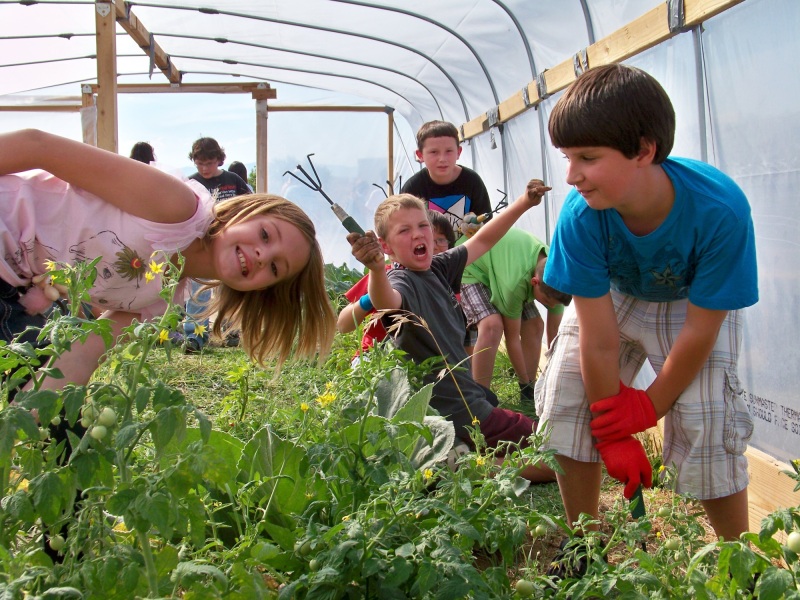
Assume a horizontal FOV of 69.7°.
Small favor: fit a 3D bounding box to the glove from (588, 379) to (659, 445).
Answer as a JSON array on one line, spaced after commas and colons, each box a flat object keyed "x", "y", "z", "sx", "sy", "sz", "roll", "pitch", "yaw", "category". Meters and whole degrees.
[{"x": 0.728, "y": 0.363, "z": 1.937, "sx": 0.299, "sy": 0.168, "sz": 0.255, "roll": -4, "pitch": 17, "yaw": 24, "category": "glove"}]

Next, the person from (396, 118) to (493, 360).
[{"x": 0.462, "y": -0.373, "z": 4.580, "sx": 0.672, "sy": 2.099, "sz": 0.695, "roll": -10, "pitch": 8, "yaw": -9, "category": "person"}]

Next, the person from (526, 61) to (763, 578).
[{"x": 0.834, "y": 0.012, "z": 1.914, "sx": 0.697, "sy": 1.535, "sz": 0.462, "roll": 2, "pitch": 3, "yaw": 13, "category": "person"}]
